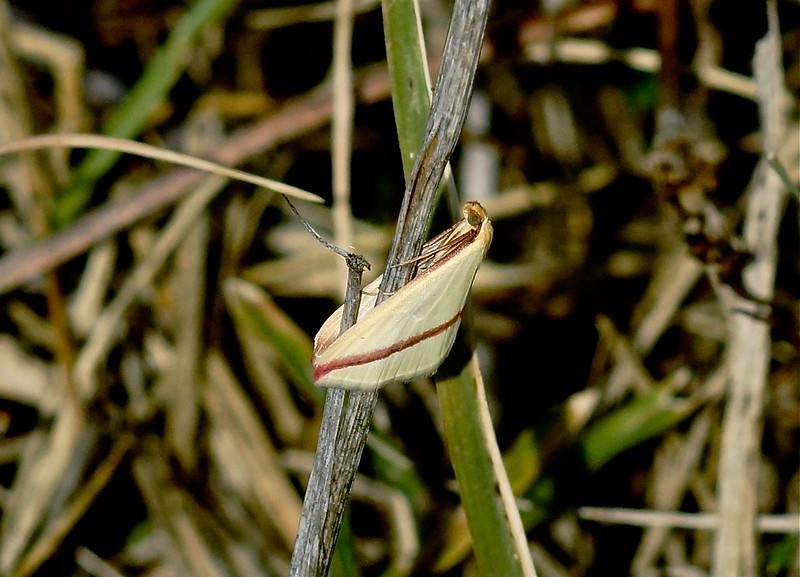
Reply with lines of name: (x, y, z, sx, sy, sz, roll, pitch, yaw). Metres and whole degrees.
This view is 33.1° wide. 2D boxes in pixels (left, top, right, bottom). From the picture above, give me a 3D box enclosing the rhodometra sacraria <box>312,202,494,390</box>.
rhodometra sacraria: (-0.009, 0.010, 1.285, 0.069, 0.185, 0.140, 14, -24, 49)
